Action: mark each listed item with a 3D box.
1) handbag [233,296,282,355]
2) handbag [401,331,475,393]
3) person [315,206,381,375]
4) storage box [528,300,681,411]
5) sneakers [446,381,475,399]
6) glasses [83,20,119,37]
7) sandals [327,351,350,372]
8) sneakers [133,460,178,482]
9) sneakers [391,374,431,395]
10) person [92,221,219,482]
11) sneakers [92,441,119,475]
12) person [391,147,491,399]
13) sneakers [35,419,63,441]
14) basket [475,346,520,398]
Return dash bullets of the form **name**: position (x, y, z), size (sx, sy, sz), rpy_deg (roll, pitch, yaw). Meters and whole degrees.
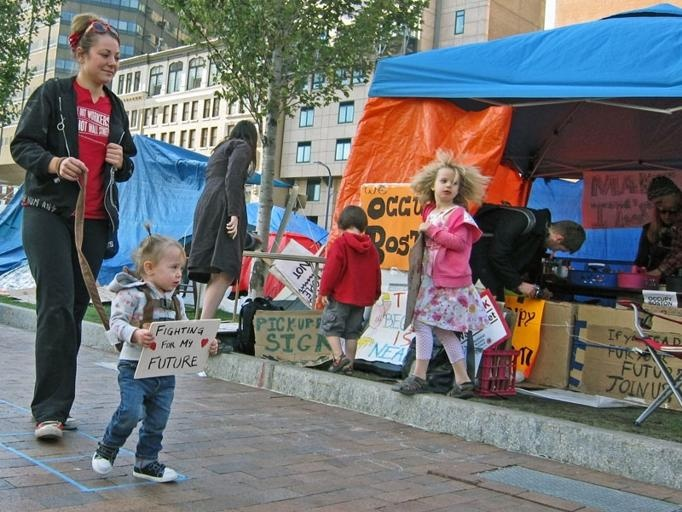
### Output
- **handbag**: position (-0.995, 0.801, 7.727), size (0.654, 0.715, 0.562), rpy_deg (0, -1, 13)
- **handbag**: position (0.823, 0.948, 6.254), size (0.763, 0.622, 0.425), rpy_deg (-10, -4, 39)
- **person**: position (0.048, 0.315, 6.791), size (0.554, 1.667, 0.735), rpy_deg (6, 5, 14)
- **storage box**: position (2.682, 0.976, 6.675), size (1.794, 0.843, 1.106), rpy_deg (6, 2, 24)
- **sneakers**: position (1.035, 1.166, 5.710), size (0.119, 0.094, 0.241), rpy_deg (1, -2, -21)
- **glasses**: position (-1.708, -1.632, 4.645), size (0.158, 0.043, 0.161), rpy_deg (-19, -9, 28)
- **sandals**: position (-0.021, 1.065, 6.580), size (0.143, 0.189, 0.330), rpy_deg (8, 6, 33)
- **sneakers**: position (-1.091, 1.272, 3.911), size (0.292, 0.096, 0.100), rpy_deg (1, -2, 6)
- **sneakers**: position (0.590, 1.098, 5.609), size (0.278, 0.100, 0.142), rpy_deg (2, -4, -12)
- **person**: position (-1.197, 0.584, 3.966), size (0.488, 1.430, 0.469), rpy_deg (4, 5, -17)
- **sneakers**: position (-1.388, 1.175, 3.880), size (0.094, 0.112, 0.270), rpy_deg (36, -4, -12)
- **person**: position (0.932, 0.133, 5.818), size (0.755, 2.129, 0.759), rpy_deg (6, 4, 5)
- **sneakers**: position (-1.924, 1.143, 4.328), size (0.163, 0.117, 0.107), rpy_deg (2, 5, -25)
- **basket**: position (1.385, 1.109, 6.266), size (0.470, 0.379, 0.369), rpy_deg (9, -9, -42)
